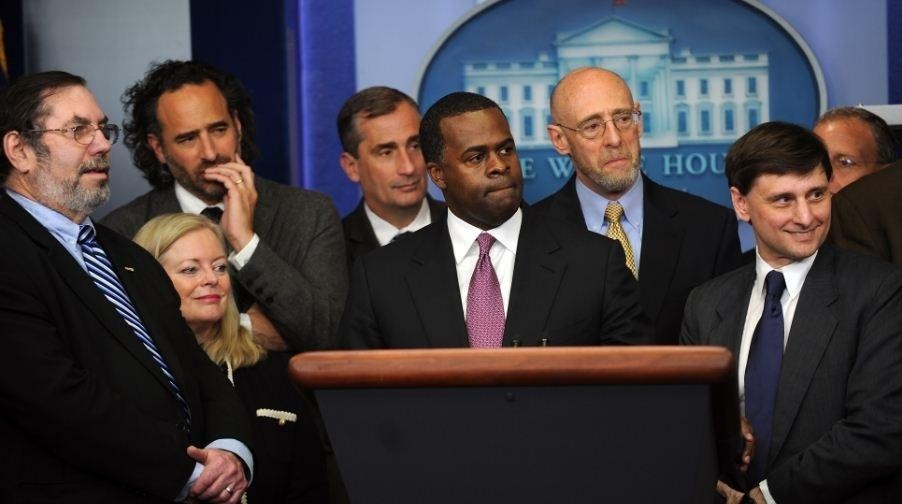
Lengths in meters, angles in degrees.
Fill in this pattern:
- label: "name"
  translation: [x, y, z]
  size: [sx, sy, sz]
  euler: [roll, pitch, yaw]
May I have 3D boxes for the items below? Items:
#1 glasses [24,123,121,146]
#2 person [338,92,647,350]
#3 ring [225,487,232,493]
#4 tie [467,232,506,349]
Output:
- label: "glasses"
  translation: [-1.599, -0.504, 3.336]
  size: [0.190, 0.052, 0.183]
  euler: [-7, -1, 29]
- label: "person"
  translation: [0.153, -0.140, 3.236]
  size: [1.251, 1.044, 0.501]
  euler: [-3, 11, 11]
- label: "ring"
  translation: [-0.888, 0.958, 3.138]
  size: [0.023, 0.020, 0.021]
  euler: [3, 0, 19]
- label: "tie"
  translation: [0.137, 0.153, 3.225]
  size: [0.160, 0.433, 0.270]
  euler: [-5, 11, 3]
